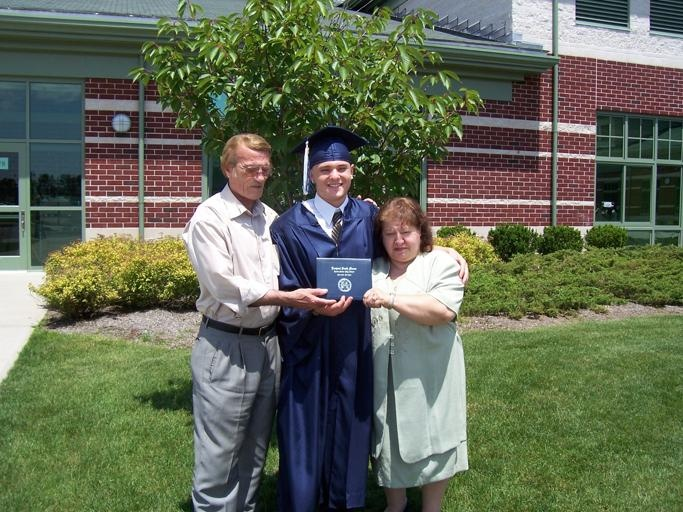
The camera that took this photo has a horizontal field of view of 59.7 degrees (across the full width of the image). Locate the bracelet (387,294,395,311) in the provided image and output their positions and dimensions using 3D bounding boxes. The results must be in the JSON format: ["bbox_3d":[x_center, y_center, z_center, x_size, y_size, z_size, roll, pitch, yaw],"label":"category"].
[{"bbox_3d":[0.378,0.354,4.523,0.039,0.089,0.062,9,8,-9],"label":"bracelet"}]

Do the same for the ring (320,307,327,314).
[{"bbox_3d":[-0.145,0.417,4.540,0.047,0.039,0.065,2,-10,-10],"label":"ring"}]

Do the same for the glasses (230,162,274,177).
[{"bbox_3d":[-0.699,-0.664,4.676,0.291,0.103,0.112,0,0,-9],"label":"glasses"}]

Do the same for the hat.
[{"bbox_3d":[-0.093,-0.856,5.011,0.476,0.547,0.653,-4,5,-19],"label":"hat"}]
